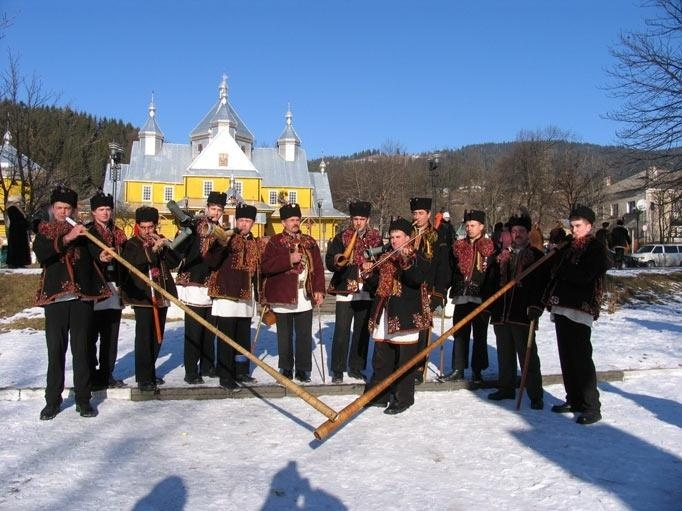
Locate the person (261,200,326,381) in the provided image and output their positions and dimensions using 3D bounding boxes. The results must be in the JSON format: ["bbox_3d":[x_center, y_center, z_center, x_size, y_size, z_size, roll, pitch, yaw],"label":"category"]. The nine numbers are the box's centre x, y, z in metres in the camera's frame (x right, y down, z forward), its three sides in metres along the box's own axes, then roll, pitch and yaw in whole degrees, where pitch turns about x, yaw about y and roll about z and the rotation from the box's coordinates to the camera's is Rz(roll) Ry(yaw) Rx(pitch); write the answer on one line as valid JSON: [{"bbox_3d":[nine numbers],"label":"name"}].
[{"bbox_3d":[-0.696,0.600,9.917,0.873,2.759,0.878,5,7,35],"label":"person"}]

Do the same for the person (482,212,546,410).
[{"bbox_3d":[2.608,0.771,9.417,0.778,2.731,1.406,0,6,-5],"label":"person"}]

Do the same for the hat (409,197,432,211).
[{"bbox_3d":[1.204,-0.769,9.590,0.240,0.158,0.217,2,-3,5],"label":"hat"}]

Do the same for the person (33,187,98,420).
[{"bbox_3d":[-3.600,0.843,8.477,0.802,2.514,0.677,-2,7,-27],"label":"person"}]

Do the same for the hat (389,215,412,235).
[{"bbox_3d":[0.805,-0.386,8.610,0.201,0.186,0.286,4,4,22],"label":"hat"}]

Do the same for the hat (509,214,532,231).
[{"bbox_3d":[2.710,-0.500,9.618,0.375,0.289,0.393,5,6,21],"label":"hat"}]

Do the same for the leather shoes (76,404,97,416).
[{"bbox_3d":[-3.343,2.049,8.406,0.134,0.111,0.281,5,-6,-41],"label":"leather shoes"}]

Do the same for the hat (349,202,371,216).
[{"bbox_3d":[0.312,-0.721,10.160,0.334,0.265,0.435,1,7,-1],"label":"hat"}]

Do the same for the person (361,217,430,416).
[{"bbox_3d":[0.781,0.849,8.690,0.858,2.694,0.669,2,6,9],"label":"person"}]

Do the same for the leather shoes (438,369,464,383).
[{"bbox_3d":[1.755,1.893,9.954,0.456,0.216,0.170,1,-7,-5],"label":"leather shoes"}]

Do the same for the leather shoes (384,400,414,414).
[{"bbox_3d":[0.796,2.104,8.748,0.382,0.176,0.154,5,-9,-24],"label":"leather shoes"}]

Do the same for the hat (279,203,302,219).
[{"bbox_3d":[-0.786,-0.667,9.940,0.309,0.250,0.388,1,7,-1],"label":"hat"}]

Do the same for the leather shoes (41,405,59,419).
[{"bbox_3d":[-3.796,2.050,8.316,0.193,0.150,0.316,0,7,-10],"label":"leather shoes"}]

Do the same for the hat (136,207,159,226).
[{"bbox_3d":[-2.832,-0.584,9.461,0.273,0.281,0.285,0,2,26],"label":"hat"}]

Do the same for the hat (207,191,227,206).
[{"bbox_3d":[-1.810,-0.817,9.375,0.235,0.185,0.244,7,-5,-8],"label":"hat"}]

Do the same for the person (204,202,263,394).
[{"bbox_3d":[-1.633,0.649,9.533,0.636,2.766,1.240,2,6,13],"label":"person"}]

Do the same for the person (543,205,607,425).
[{"bbox_3d":[3.233,0.769,8.661,0.711,2.839,1.039,1,6,4],"label":"person"}]

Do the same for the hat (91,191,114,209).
[{"bbox_3d":[-3.352,-0.740,8.958,0.238,0.225,0.298,5,-12,-14],"label":"hat"}]

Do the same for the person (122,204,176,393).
[{"bbox_3d":[-2.847,0.663,9.401,0.735,2.711,1.042,0,6,-3],"label":"person"}]

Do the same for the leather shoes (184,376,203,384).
[{"bbox_3d":[-2.238,1.916,9.716,0.224,0.110,0.111,1,-2,-1],"label":"leather shoes"}]

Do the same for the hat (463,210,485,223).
[{"bbox_3d":[2.139,-0.617,10.157,0.227,0.161,0.241,3,1,7],"label":"hat"}]

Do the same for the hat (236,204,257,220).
[{"bbox_3d":[-1.446,-0.676,9.784,0.267,0.200,0.232,8,-6,-5],"label":"hat"}]

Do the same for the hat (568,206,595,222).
[{"bbox_3d":[3.274,-0.557,8.665,0.273,0.184,0.230,19,3,29],"label":"hat"}]

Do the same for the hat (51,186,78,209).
[{"bbox_3d":[-3.714,-0.794,8.597,0.305,0.232,0.315,3,3,-20],"label":"hat"}]

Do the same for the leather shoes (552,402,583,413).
[{"bbox_3d":[3.129,2.132,8.807,0.375,0.173,0.143,-7,-5,19],"label":"leather shoes"}]
